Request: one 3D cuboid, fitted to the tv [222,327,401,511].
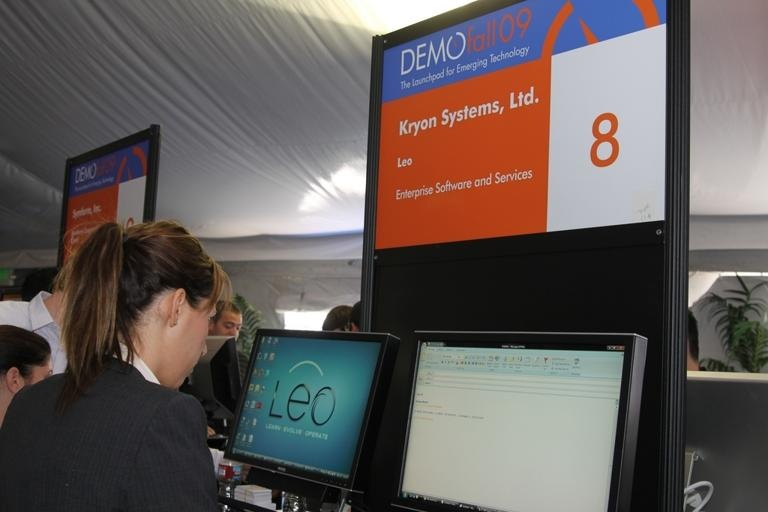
[{"bbox_3d":[-0.232,0.576,1.721,0.607,0.534,0.239,1,-7,36],"label":"tv"}]
